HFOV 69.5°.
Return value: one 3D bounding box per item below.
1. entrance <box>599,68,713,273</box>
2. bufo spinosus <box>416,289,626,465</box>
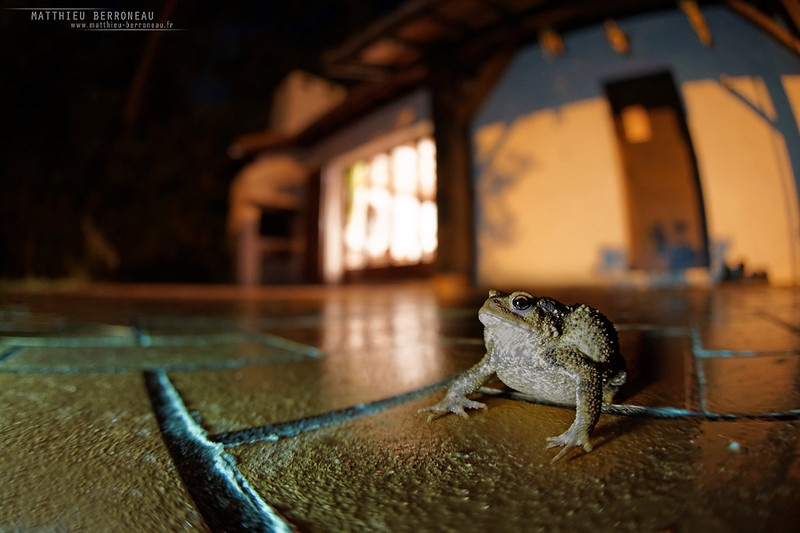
[{"bbox_3d":[0.616,-0.229,1.387,0.214,0.482,0.036,-2,-4,33],"label":"entrance"},{"bbox_3d":[0.295,0.235,1.358,0.394,0.355,0.294,-2,-4,31],"label":"bufo spinosus"}]
